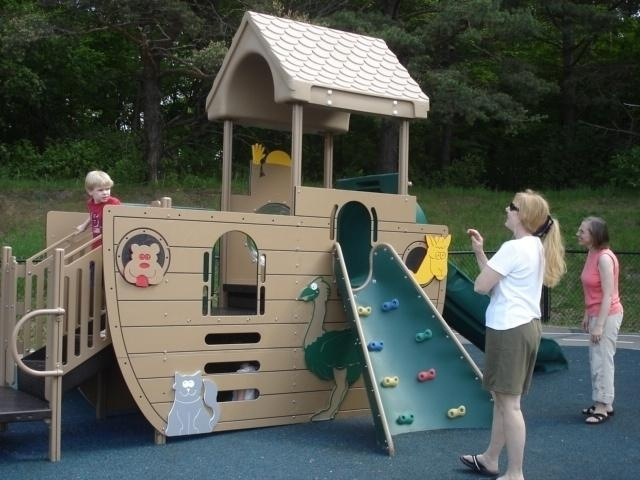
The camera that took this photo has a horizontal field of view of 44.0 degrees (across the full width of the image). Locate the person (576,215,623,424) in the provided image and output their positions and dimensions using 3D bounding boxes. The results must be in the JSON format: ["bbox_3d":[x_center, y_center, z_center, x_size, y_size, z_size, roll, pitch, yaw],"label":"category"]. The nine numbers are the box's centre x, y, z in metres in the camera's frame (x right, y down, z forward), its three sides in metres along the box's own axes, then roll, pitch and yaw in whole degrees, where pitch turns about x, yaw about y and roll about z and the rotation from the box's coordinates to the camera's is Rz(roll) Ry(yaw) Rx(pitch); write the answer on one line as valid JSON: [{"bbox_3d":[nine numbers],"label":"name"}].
[{"bbox_3d":[3.488,1.050,9.991,0.612,2.573,0.688,4,13,18],"label":"person"}]

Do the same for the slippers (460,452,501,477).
[{"bbox_3d":[1.746,2.462,8.687,0.363,0.141,0.208,17,9,24],"label":"slippers"}]

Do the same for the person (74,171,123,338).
[{"bbox_3d":[-2.835,0.159,10.143,0.547,2.072,1.454,-4,14,-18],"label":"person"}]

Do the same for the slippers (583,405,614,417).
[{"bbox_3d":[3.584,2.231,10.258,0.428,0.167,0.158,-2,1,20],"label":"slippers"}]

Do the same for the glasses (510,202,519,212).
[{"bbox_3d":[2.074,-0.343,8.427,0.094,0.057,0.067,27,7,-34],"label":"glasses"}]
